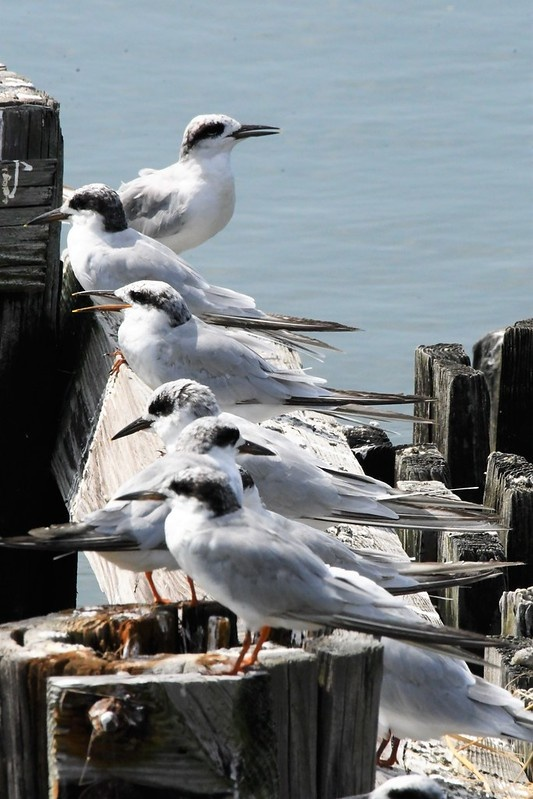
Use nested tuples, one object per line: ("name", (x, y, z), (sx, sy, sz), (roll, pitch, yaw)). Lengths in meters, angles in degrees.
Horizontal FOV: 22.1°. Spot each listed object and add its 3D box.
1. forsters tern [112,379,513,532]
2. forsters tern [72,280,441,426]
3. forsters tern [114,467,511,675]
("forsters tern", (0.116, 0.242, 4.932), (1.427, 0.577, 0.372), (0, 3, -22))
("forsters tern", (-0.017, -0.139, 5.422), (1.411, 0.581, 0.390), (2, 9, -11))
("forsters tern", (0.122, 0.410, 3.293), (0.885, 0.481, 0.242), (2, 2, -10))
